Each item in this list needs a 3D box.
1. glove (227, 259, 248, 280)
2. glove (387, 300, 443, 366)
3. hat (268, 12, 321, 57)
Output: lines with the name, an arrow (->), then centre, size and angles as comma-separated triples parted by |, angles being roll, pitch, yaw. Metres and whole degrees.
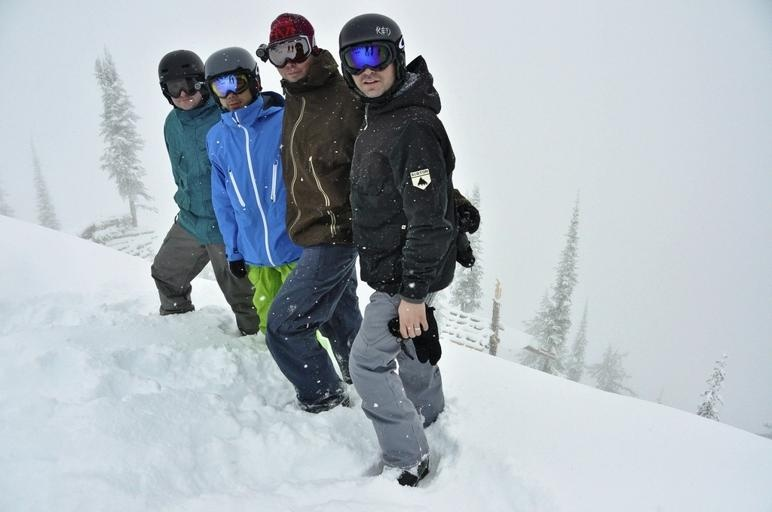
glove -> -2.112, 0.223, 8.720 | 0.202, 0.283, 0.267 | -8, 49, -12
glove -> 0.470, 0.952, 7.421 | 0.657, 0.676, 0.203 | 31, -2, -13
hat -> -1.253, -3.038, 8.253 | 0.552, 0.621, 0.754 | 4, 20, 11
